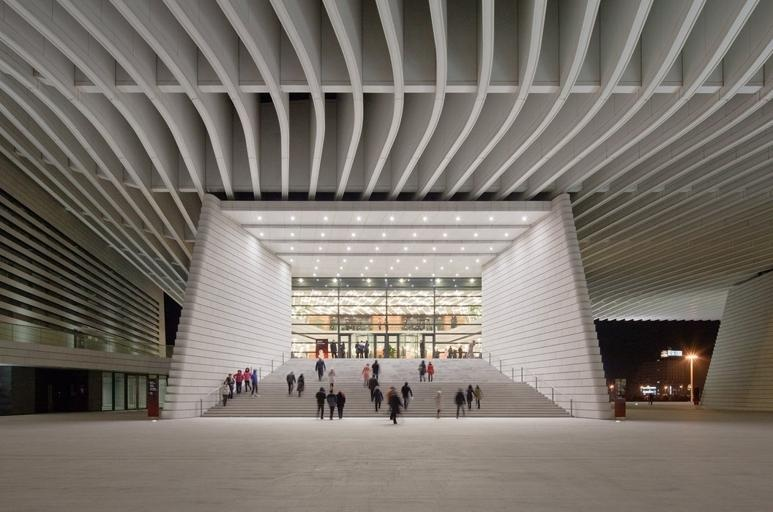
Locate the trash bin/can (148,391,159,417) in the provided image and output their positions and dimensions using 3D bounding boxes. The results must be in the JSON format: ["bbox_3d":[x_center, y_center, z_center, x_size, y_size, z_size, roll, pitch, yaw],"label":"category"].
[{"bbox_3d":[-11.881,7.459,25.529,0.785,1.278,0.440,-10,-20,35],"label":"trash bin/can"}]

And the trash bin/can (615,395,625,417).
[{"bbox_3d":[10.901,7.051,23.505,0.436,0.843,0.557,-2,-17,12],"label":"trash bin/can"}]
